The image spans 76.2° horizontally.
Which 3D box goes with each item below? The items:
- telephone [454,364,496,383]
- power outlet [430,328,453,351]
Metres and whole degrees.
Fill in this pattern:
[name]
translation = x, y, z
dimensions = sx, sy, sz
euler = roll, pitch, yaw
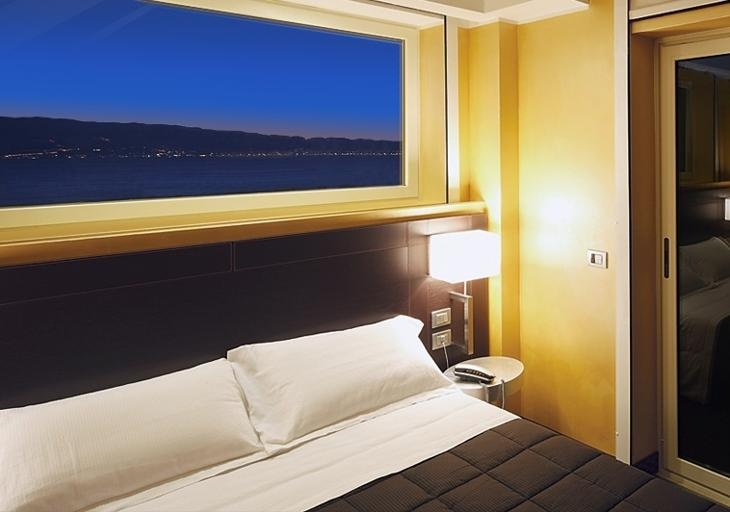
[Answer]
[telephone]
translation = 0.685, 0.744, 2.953
dimensions = 0.182, 0.059, 0.107
euler = 5, 2, 33
[power outlet]
translation = 0.521, 0.581, 3.246
dimensions = 0.173, 0.116, 0.029
euler = -5, 5, -36
